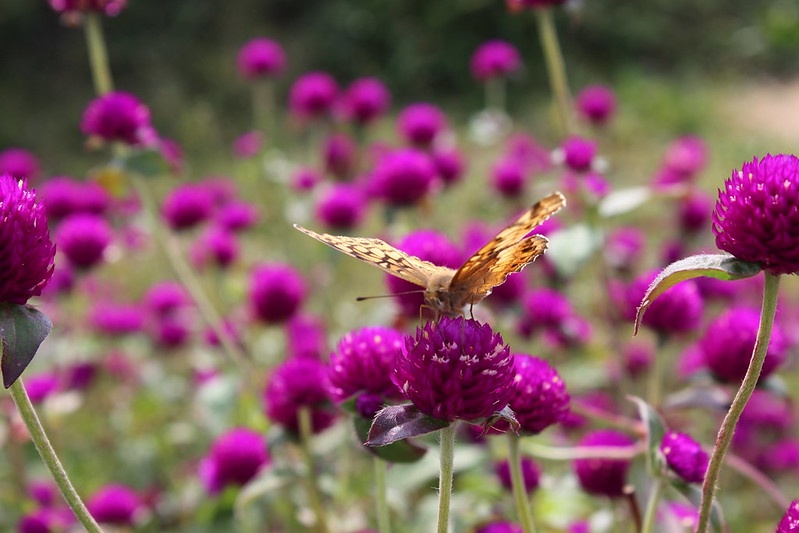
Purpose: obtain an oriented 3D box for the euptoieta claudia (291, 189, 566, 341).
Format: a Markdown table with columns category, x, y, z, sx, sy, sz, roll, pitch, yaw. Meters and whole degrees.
| category | x | y | z | sx | sy | sz | roll | pitch | yaw |
| --- | --- | --- | --- | --- | --- | --- | --- | --- | --- |
| euptoieta claudia | 0.089 | 0.012 | 1.706 | 0.530 | 0.415 | 0.290 | -3 | 92 | -6 |
